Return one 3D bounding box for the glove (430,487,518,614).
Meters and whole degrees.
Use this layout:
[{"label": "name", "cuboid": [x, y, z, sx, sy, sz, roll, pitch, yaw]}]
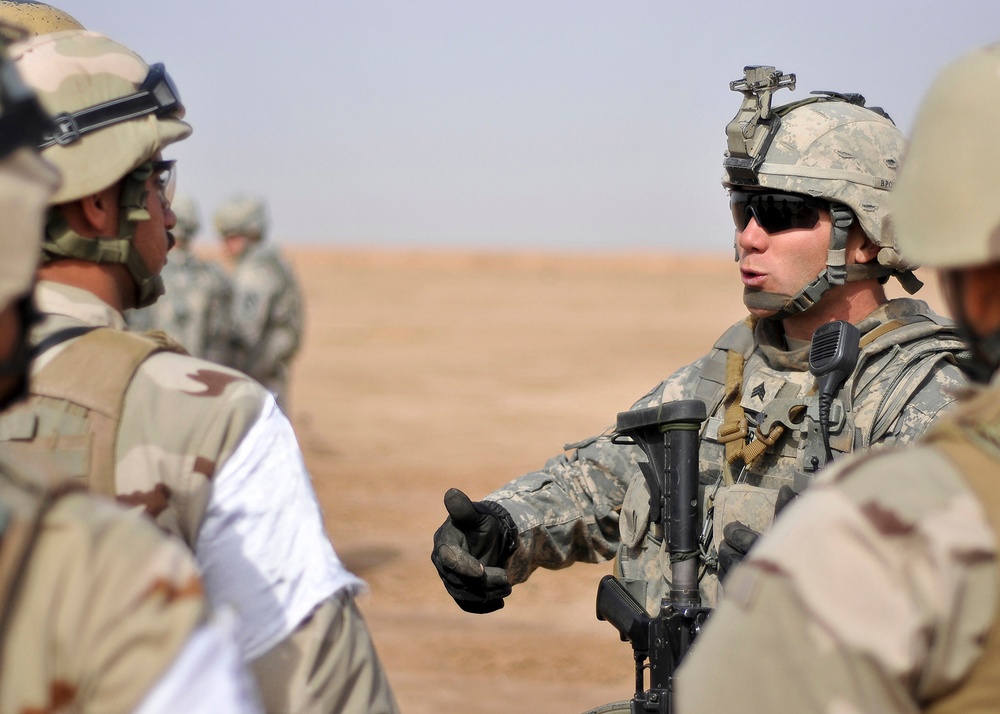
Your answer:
[{"label": "glove", "cuboid": [-0.084, 0.570, 5.690, 0.237, 0.360, 0.331, 10, 8, 34]}]
